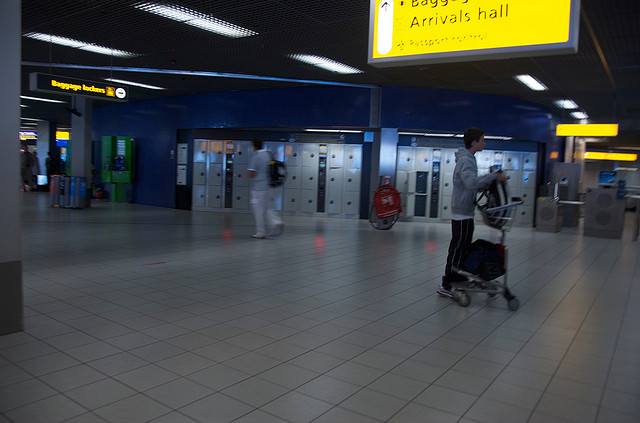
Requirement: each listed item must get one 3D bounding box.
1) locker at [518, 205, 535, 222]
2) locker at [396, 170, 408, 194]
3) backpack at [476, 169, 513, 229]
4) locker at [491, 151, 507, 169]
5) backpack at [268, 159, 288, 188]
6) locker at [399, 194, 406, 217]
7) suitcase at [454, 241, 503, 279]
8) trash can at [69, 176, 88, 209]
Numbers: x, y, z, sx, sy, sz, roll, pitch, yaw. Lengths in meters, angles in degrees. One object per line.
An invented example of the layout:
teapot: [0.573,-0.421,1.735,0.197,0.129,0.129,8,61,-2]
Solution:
locker: [7.039,0.078,13.248,0.850,0.563,0.362,2,-3,4]
locker: [2.748,-1.001,13.059,0.399,0.806,0.368,2,8,8]
backpack: [2.207,-0.163,4.925,0.409,0.743,0.667,4,8,23]
locker: [6.160,-1.791,13.364,0.685,0.606,0.228,-3,9,-29]
backpack: [-0.974,-0.874,8.736,0.385,0.617,0.232,-2,8,-17]
locker: [2.751,-0.186,12.941,0.188,0.762,0.353,3,8,12]
suitcase: [2.012,0.619,4.914,0.573,0.441,0.125,2,8,13]
trash can: [-8.042,-0.645,12.893,0.605,1.061,0.296,-2,9,-17]
